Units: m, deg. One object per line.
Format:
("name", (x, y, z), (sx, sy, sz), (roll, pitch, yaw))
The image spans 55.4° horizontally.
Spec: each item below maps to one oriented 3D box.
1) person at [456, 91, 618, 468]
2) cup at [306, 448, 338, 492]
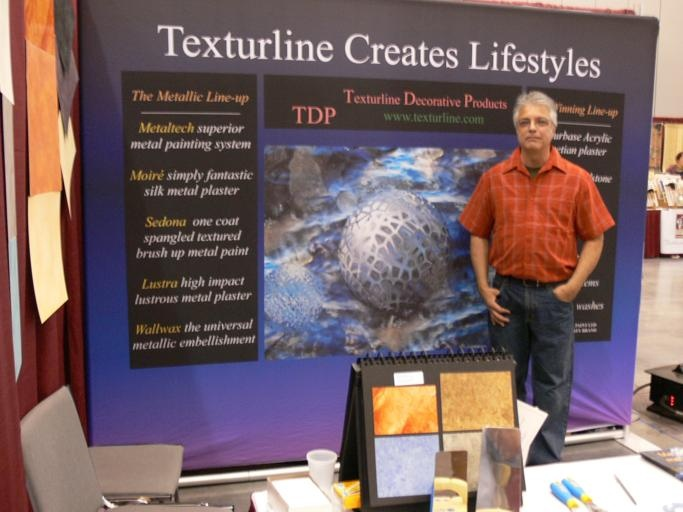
("person", (1.105, 0.152, 3.628), (0.777, 2.065, 0.336), (-4, 12, 3))
("cup", (-0.051, 0.709, 2.173), (0.106, 0.154, 0.106), (0, 8, 0))
